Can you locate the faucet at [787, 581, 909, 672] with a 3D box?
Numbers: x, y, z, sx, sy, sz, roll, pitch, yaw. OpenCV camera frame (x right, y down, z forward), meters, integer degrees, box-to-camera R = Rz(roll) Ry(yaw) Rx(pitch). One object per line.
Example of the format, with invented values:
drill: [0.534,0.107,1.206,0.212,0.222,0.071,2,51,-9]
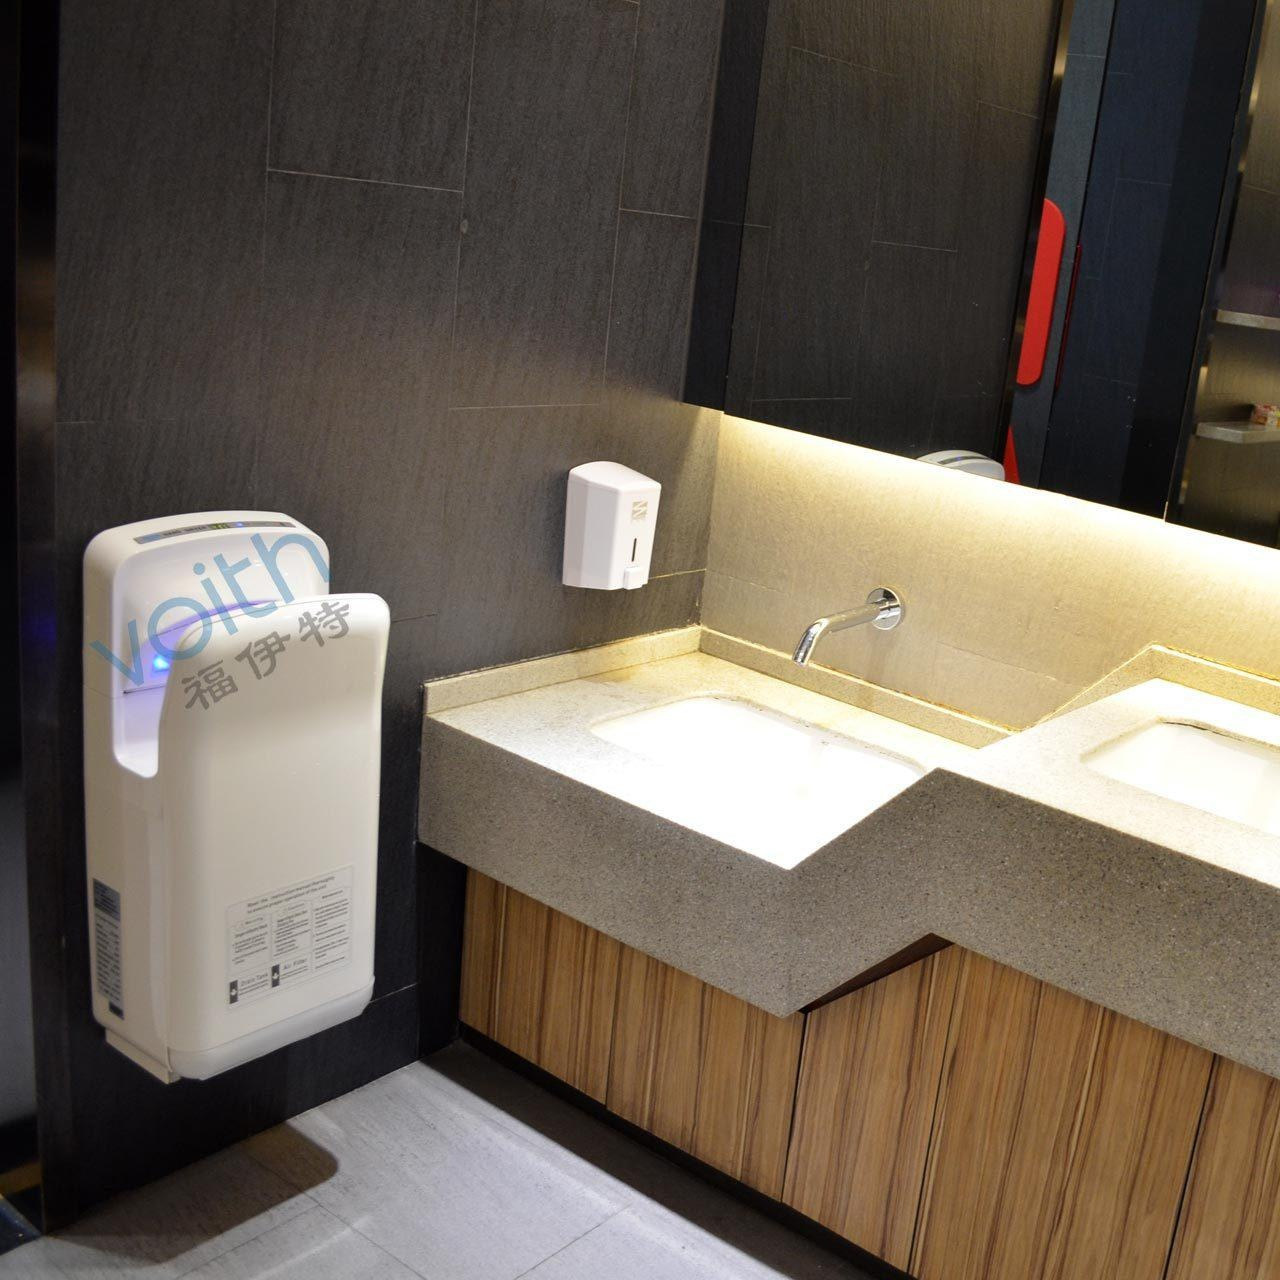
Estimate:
faucet: [0.327,-0.035,1.997,0.098,0.125,0.284,16,29,40]

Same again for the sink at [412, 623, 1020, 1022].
sink: [0.118,0.234,2.018,0.782,0.319,0.669,15,17,33]

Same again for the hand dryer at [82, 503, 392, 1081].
hand dryer: [-0.535,0.221,1.625,0.209,0.738,0.311,17,20,37]
